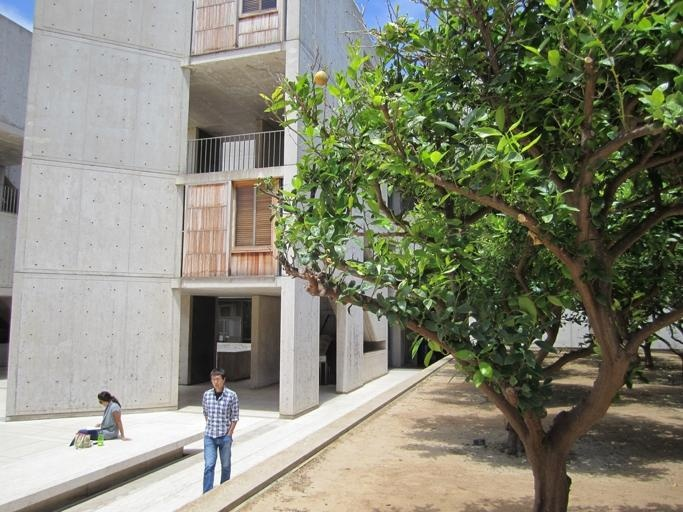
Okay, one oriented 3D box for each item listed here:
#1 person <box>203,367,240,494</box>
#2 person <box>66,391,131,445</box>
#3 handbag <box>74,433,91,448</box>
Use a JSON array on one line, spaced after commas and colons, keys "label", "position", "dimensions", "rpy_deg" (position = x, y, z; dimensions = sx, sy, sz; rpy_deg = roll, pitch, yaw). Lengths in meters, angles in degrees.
[{"label": "person", "position": [-1.777, 2.531, 7.597], "dimensions": [0.497, 1.711, 0.762], "rpy_deg": [-1, -6, -13]}, {"label": "person", "position": [-4.591, 3.072, 9.980], "dimensions": [0.760, 0.983, 0.935], "rpy_deg": [-2, -6, -4]}, {"label": "handbag", "position": [-4.815, 3.427, 9.600], "dimensions": [0.223, 0.216, 0.266], "rpy_deg": [4, -7, -25]}]
